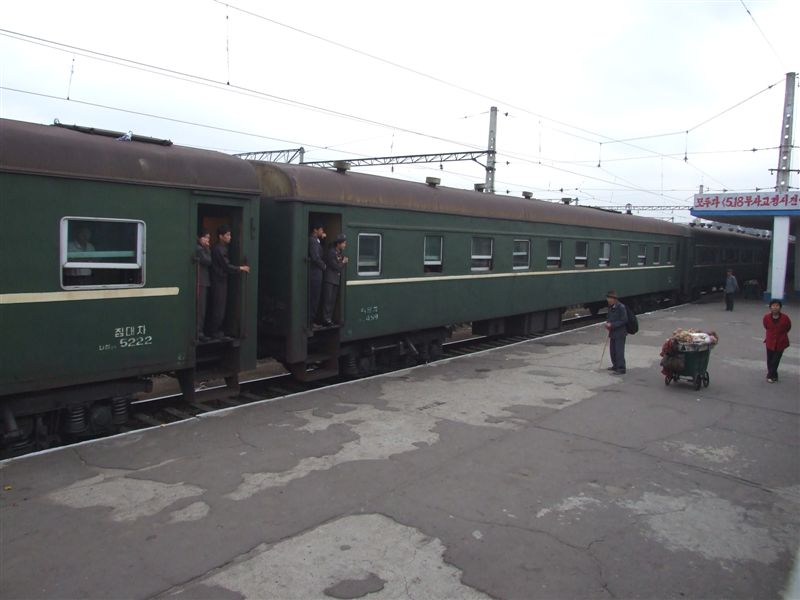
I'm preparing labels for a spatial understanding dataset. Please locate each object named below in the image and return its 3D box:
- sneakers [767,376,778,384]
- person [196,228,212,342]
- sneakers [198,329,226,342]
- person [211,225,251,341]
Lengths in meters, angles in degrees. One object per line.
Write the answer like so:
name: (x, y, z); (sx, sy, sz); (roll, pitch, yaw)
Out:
sneakers: (7.657, 1.623, 12.643); (0.083, 0.181, 0.267); (-3, 3, -38)
person: (-3.099, -0.230, 9.833); (0.244, 1.662, 0.658); (-2, 12, -17)
sneakers: (-3.007, 0.573, 9.885); (0.424, 0.184, 0.152); (-3, -2, 23)
person: (-2.829, -0.301, 10.128); (0.628, 1.789, 0.544); (-5, 13, -29)
